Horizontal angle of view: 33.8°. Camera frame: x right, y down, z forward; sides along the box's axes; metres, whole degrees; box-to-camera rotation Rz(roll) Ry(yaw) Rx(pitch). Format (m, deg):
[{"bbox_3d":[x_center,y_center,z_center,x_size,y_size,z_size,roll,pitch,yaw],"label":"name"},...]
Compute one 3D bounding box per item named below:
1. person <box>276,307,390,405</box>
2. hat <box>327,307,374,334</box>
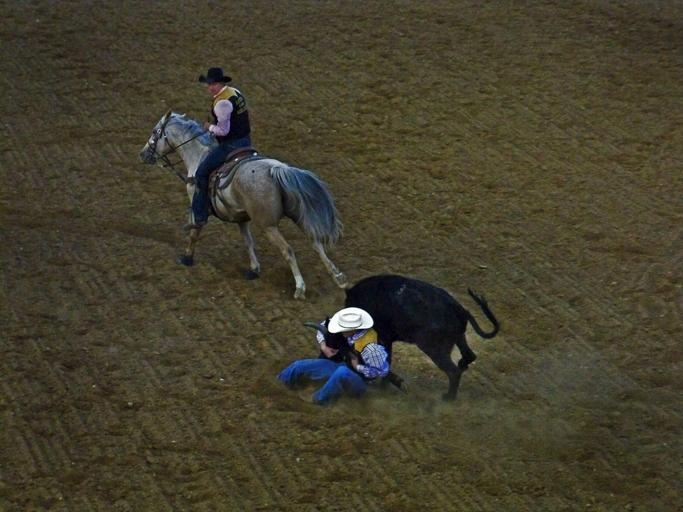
[{"bbox_3d":[-0.203,1.486,16.859,2.126,1.160,0.875,0,23,5],"label":"person"},{"bbox_3d":[0.127,0.945,16.336,0.604,0.160,0.374,-3,33,3],"label":"hat"}]
